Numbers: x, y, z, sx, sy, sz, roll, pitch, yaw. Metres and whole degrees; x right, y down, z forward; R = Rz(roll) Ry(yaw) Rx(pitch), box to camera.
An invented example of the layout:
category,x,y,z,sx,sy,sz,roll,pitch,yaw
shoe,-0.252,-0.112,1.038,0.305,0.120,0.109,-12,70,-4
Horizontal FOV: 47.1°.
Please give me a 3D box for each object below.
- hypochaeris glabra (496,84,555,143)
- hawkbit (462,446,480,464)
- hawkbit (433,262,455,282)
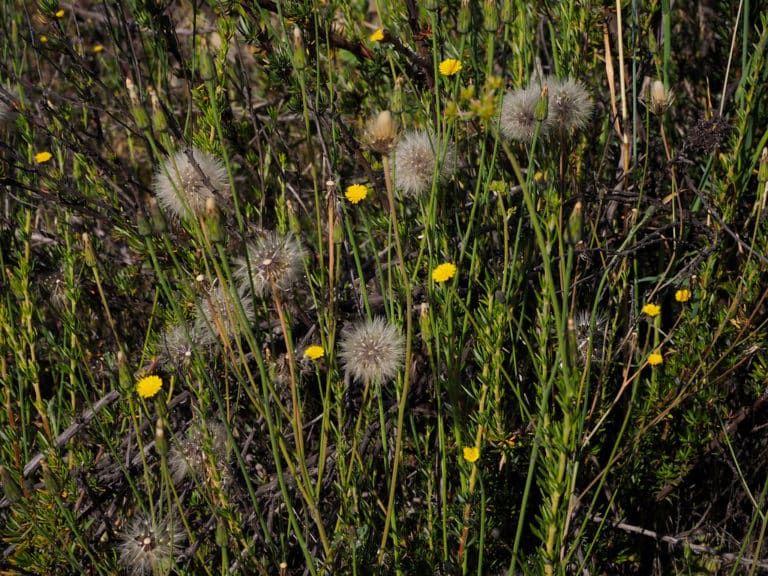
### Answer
category,x,y,z,sx,sy,sz,roll,pitch,yaw
hypochaeris glabra,0.535,-0.673,3.422,0.137,0.213,0.223,3,22,22
hawkbit,0.311,0.594,3.123,0.057,0.072,0.045,-8,19,-10
hawkbit,0.213,-0.050,3.111,0.095,0.058,0.060,4,22,23
